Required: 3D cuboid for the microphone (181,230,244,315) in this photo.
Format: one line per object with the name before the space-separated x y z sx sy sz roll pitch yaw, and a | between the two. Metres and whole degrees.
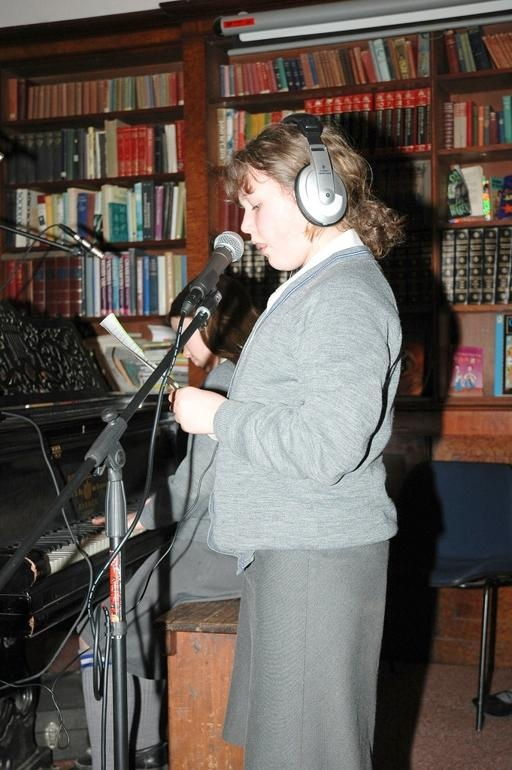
microphone | -0.073 -0.185 1.157 0.060 0.054 0.205 8 40 30
